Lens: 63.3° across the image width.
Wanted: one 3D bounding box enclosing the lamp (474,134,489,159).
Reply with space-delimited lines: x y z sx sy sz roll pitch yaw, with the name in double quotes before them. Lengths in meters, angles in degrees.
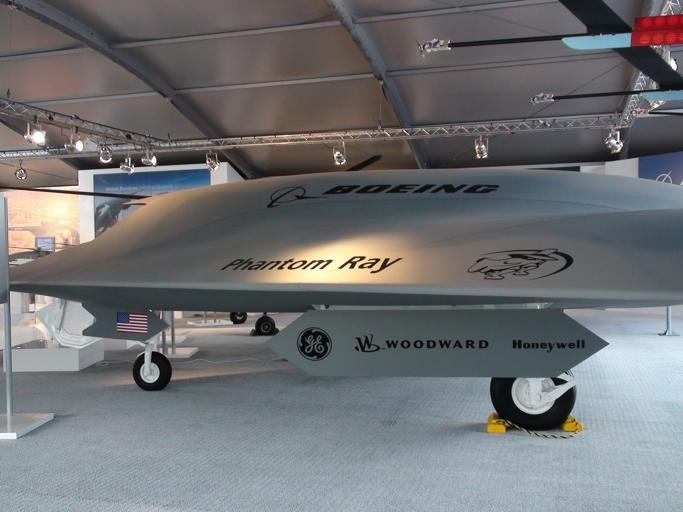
"lamp" 3.877 -3.027 15.346 0.305 0.592 1.053 1 11 12
